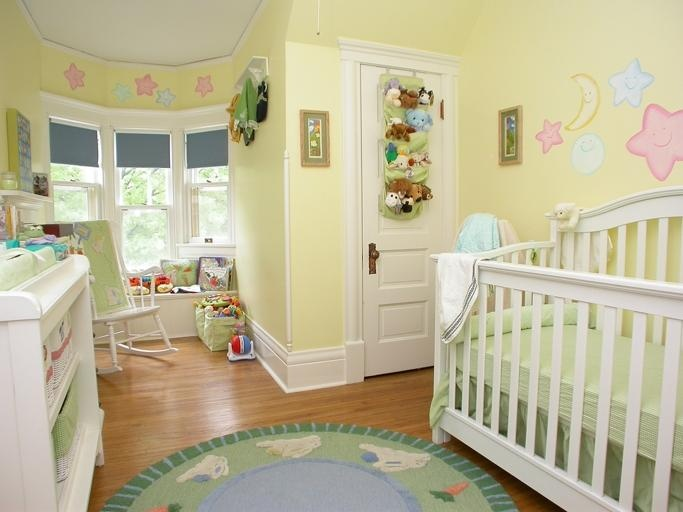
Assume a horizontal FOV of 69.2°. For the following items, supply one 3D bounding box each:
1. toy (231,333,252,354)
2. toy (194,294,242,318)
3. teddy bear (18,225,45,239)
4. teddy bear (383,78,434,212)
[{"bbox_3d":[-0.842,0.750,4.161,0.142,0.152,0.155,4,12,25],"label":"toy"},{"bbox_3d":[-1.144,0.456,4.596,0.317,0.138,0.542,-7,13,-30],"label":"toy"},{"bbox_3d":[-2.132,-0.164,3.405,0.188,0.079,0.154,5,6,31],"label":"teddy bear"},{"bbox_3d":[0.476,-0.779,3.604,0.374,1.019,0.261,-1,11,0],"label":"teddy bear"}]
